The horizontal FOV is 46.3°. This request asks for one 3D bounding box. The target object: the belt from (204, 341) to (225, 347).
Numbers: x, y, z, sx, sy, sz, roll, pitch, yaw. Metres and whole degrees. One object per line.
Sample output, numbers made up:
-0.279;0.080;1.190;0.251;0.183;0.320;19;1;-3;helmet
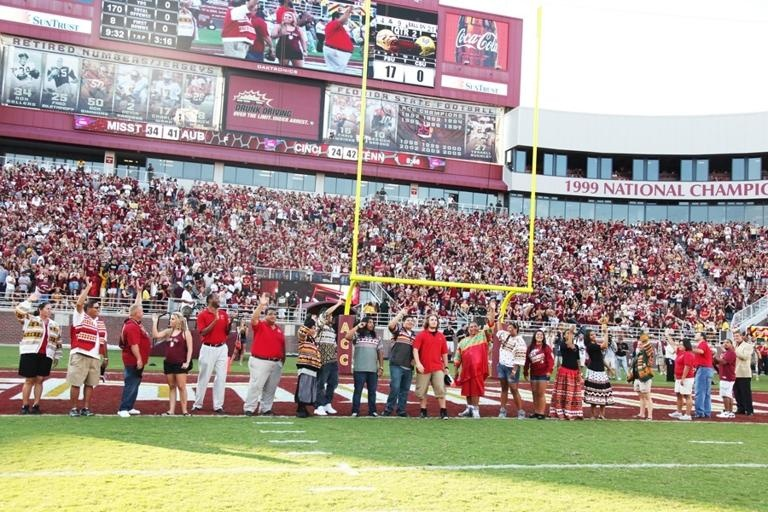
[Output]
-4.466;2.325;23.745;0.531;0.135;0.144;7;-9;-31;belt
